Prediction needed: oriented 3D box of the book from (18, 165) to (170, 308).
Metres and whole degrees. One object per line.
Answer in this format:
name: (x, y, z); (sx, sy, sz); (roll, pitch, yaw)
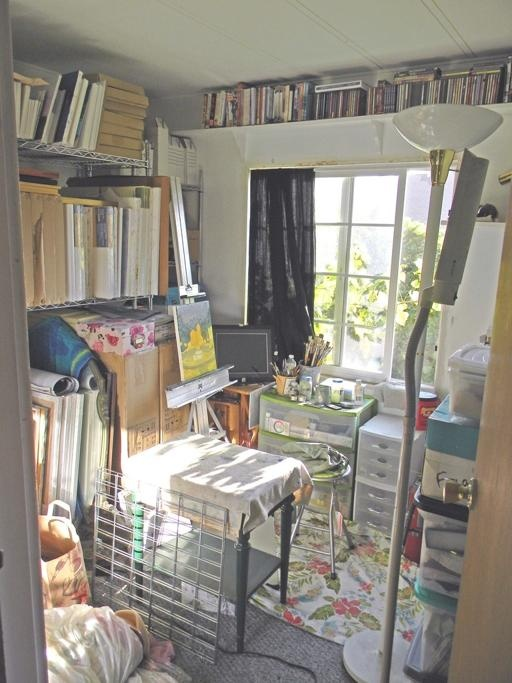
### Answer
book: (-0.785, -0.502, 2.603); (0.380, 0.578, 0.896); (7, 15, 22)

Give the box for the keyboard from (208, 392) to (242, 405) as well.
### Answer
keyboard: (-0.206, 0.380, 3.619); (0.197, 0.088, 0.067); (6, 10, 2)

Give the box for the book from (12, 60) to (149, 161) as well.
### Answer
book: (-0.895, -1.136, 2.617); (0.263, 0.426, 0.875); (10, 11, 23)

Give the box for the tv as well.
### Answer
tv: (-0.100, 0.093, 3.612); (0.393, 0.339, 0.062); (4, -9, -15)

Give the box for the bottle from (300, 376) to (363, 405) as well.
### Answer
bottle: (0.525, 0.332, 3.478); (0.242, 0.060, 0.241); (1, 8, 0)

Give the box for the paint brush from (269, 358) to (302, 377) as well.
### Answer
paint brush: (0.225, 0.182, 3.713); (0.194, 0.194, 0.114); (0, 2, 3)

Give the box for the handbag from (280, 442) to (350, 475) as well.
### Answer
handbag: (0.305, 0.616, 2.764); (0.256, 0.076, 0.310); (-1, 5, -28)

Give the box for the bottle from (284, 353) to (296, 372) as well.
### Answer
bottle: (0.232, 0.161, 3.662); (0.080, 0.113, 0.146); (3, 11, -17)

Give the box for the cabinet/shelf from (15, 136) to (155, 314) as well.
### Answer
cabinet/shelf: (-0.902, -0.627, 2.894); (0.747, 0.802, 1.196); (1, 11, -24)

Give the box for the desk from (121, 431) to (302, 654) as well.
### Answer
desk: (-0.183, 0.855, 2.360); (0.705, 0.666, 0.506); (5, 9, 31)

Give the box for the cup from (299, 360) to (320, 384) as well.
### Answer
cup: (0.363, 0.217, 3.553); (0.126, 0.143, 0.132); (2, -1, 0)

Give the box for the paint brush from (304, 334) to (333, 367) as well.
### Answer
paint brush: (0.430, 0.059, 3.678); (0.075, 0.285, 0.101); (-1, -34, 40)

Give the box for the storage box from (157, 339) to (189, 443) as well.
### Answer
storage box: (-0.476, 0.278, 3.117); (0.095, 0.577, 0.328); (9, 11, 20)
